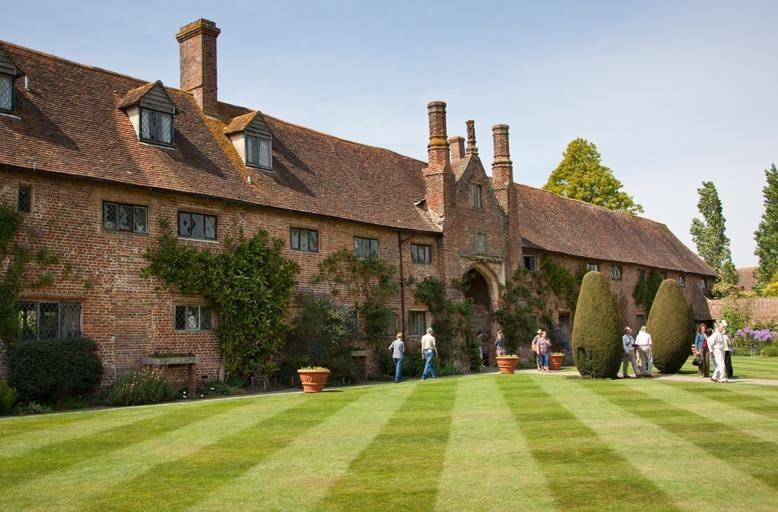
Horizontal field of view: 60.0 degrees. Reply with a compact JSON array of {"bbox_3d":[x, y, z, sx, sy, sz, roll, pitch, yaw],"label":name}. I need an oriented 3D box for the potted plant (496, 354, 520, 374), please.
[{"bbox_3d":[4.871,4.347,27.775,0.944,0.687,0.961,0,-14,1],"label":"potted plant"}]

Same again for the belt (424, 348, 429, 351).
[{"bbox_3d":[1.465,3.692,26.887,0.120,0.123,0.320,4,-11,-30],"label":"belt"}]

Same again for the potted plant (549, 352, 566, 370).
[{"bbox_3d":[7.559,4.731,30.470,0.547,0.676,1.446,-3,-9,12],"label":"potted plant"}]

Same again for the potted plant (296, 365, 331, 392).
[{"bbox_3d":[-2.546,4.057,22.379,0.904,0.807,1.231,0,-9,-10],"label":"potted plant"}]
